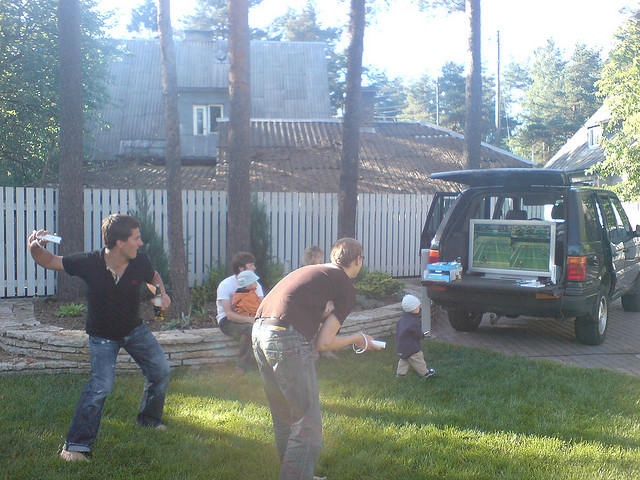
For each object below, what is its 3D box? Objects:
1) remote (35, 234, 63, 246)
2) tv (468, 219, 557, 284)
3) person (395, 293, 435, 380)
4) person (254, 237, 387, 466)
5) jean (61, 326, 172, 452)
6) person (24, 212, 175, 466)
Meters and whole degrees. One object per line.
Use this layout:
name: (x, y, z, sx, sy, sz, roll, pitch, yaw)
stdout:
remote: (-3.479, 0.018, 10.098, 0.297, 0.105, 0.092, 3, -23, 17)
tv: (3.103, 0.211, 12.752, 1.243, 1.027, 0.391, 3, 5, 14)
person: (1.358, 1.422, 11.348, 0.522, 1.167, 0.294, 1, 3, 7)
person: (-0.131, 1.287, 8.733, 1.180, 2.550, 0.553, 1, 3, -7)
jean: (-2.500, 1.693, 9.724, 1.228, 1.876, 0.533, -7, 23, -31)
person: (-2.555, 1.174, 9.526, 1.492, 2.911, 0.610, 0, 3, -23)
